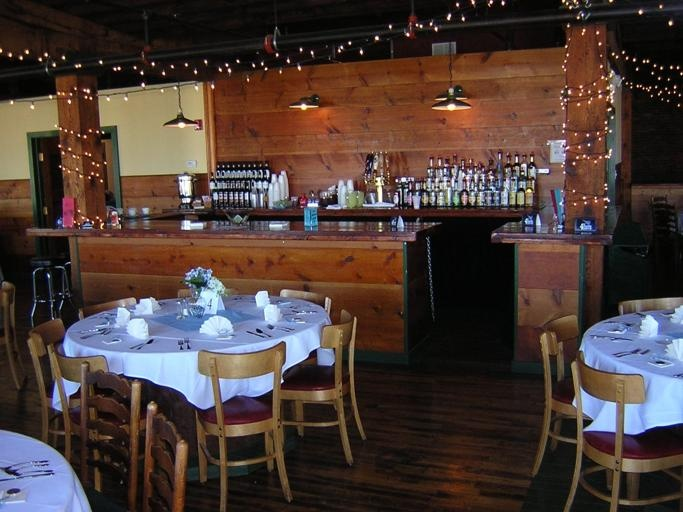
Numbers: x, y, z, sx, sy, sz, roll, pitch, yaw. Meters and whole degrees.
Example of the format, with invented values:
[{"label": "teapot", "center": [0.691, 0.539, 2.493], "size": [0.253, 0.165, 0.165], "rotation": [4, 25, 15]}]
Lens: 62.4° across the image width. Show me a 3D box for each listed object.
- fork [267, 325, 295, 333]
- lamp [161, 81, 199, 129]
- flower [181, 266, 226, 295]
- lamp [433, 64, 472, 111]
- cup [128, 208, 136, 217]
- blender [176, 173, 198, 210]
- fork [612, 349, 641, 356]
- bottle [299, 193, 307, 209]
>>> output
[{"label": "fork", "center": [-0.408, 0.484, 3.816], "size": [0.228, 0.008, 0.095], "rotation": [4, 13, 27]}, {"label": "lamp", "center": [-2.279, -2.145, 7.941], "size": [0.542, 0.549, 0.545], "rotation": [17, 26, 36]}, {"label": "flower", "center": [-1.027, 0.156, 4.092], "size": [0.286, 0.201, 0.280], "rotation": [12, 18, 15]}, {"label": "lamp", "center": [1.407, -2.078, 7.209], "size": [0.559, 0.363, 0.530], "rotation": [2, 10, 29]}, {"label": "cup", "center": [-3.021, -0.640, 8.198], "size": [0.150, 0.103, 0.109], "rotation": [1, 7, -19]}, {"label": "blender", "center": [-2.464, -1.064, 9.100], "size": [0.284, 0.543, 0.474], "rotation": [-5, 12, -12]}, {"label": "fork", "center": [1.653, 0.555, 3.263], "size": [0.210, 0.015, 0.055], "rotation": [-3, 26, -34]}, {"label": "bottle", "center": [-0.571, -0.852, 8.569], "size": [0.128, 0.175, 0.445], "rotation": [-3, 12, -4]}]
